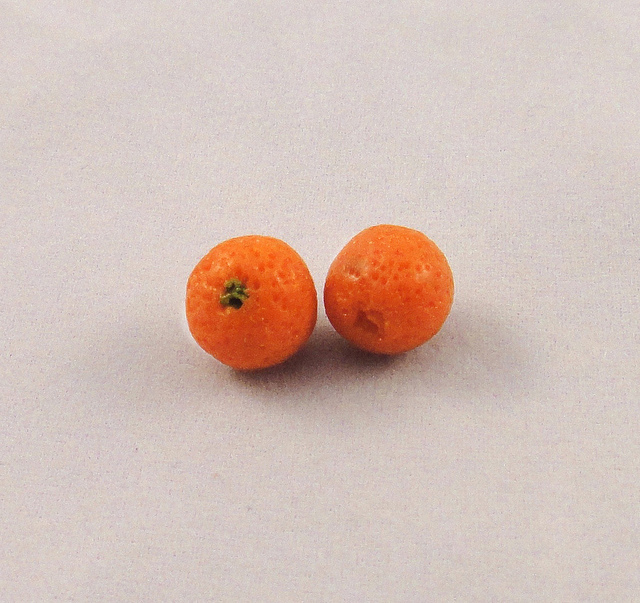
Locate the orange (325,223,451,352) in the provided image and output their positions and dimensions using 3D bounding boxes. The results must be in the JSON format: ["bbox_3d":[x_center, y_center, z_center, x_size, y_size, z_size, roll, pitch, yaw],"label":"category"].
[{"bbox_3d":[0.151,-0.015,1.611,0.222,0.260,0.244,-15,32,3],"label":"orange"}]

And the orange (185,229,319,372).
[{"bbox_3d":[-0.138,0.033,1.508,0.220,0.246,0.296,-2,79,-5],"label":"orange"}]
